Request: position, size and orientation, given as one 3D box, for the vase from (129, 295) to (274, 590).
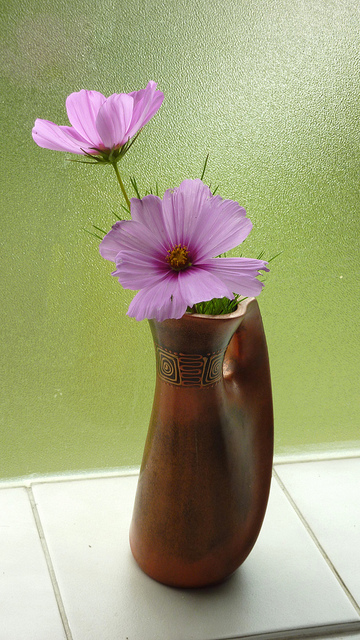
[{"bbox_3d":[0.017,0.094,0.440,0.139,0.227,0.106,-5,10,-26],"label":"vase"}]
